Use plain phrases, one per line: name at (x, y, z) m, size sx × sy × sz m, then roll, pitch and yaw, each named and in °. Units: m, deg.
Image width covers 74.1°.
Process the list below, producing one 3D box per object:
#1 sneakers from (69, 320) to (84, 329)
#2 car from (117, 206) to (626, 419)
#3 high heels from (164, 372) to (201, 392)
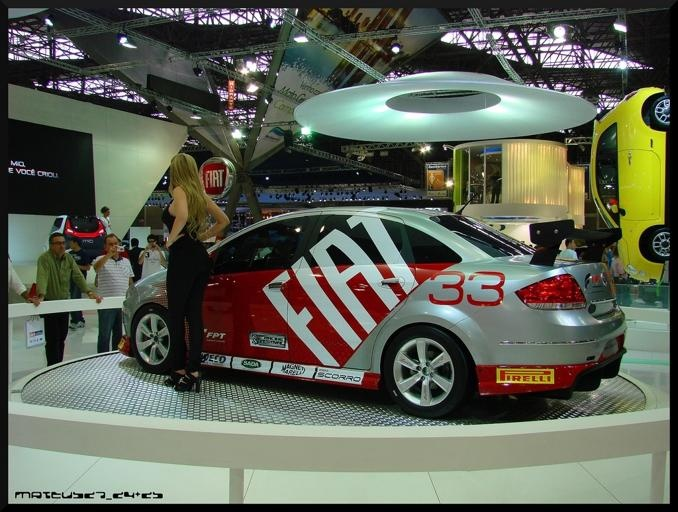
sneakers at (-5.164, 1.352, 8.786) m, size 0.354 × 0.132 × 0.118 m, roll 4°, pitch -6°, yaw -30°
car at (0.243, 0.384, 3.942) m, size 3.751 × 1.109 × 1.697 m, roll 1°, pitch -1°, yaw 24°
high heels at (-1.203, 0.972, 3.508) m, size 0.300 × 0.105 × 0.110 m, roll 5°, pitch 4°, yaw 8°
